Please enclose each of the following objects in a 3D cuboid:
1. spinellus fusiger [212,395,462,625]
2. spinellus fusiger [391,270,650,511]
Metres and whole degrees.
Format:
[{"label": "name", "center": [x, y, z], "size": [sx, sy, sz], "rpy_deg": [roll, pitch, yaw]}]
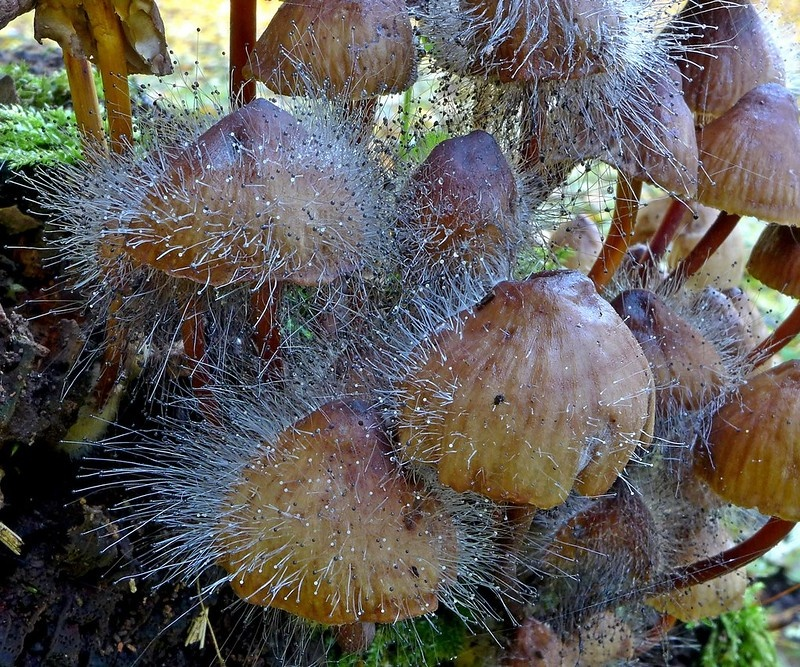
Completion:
[{"label": "spinellus fusiger", "center": [-0.138, 0.361, 1.953], "size": [0.481, 0.542, 0.457], "rpy_deg": [2, 96, 19]}, {"label": "spinellus fusiger", "center": [0.249, 0.162, 1.808], "size": [0.373, 0.267, 0.467], "rpy_deg": [12, 43, 8]}]
